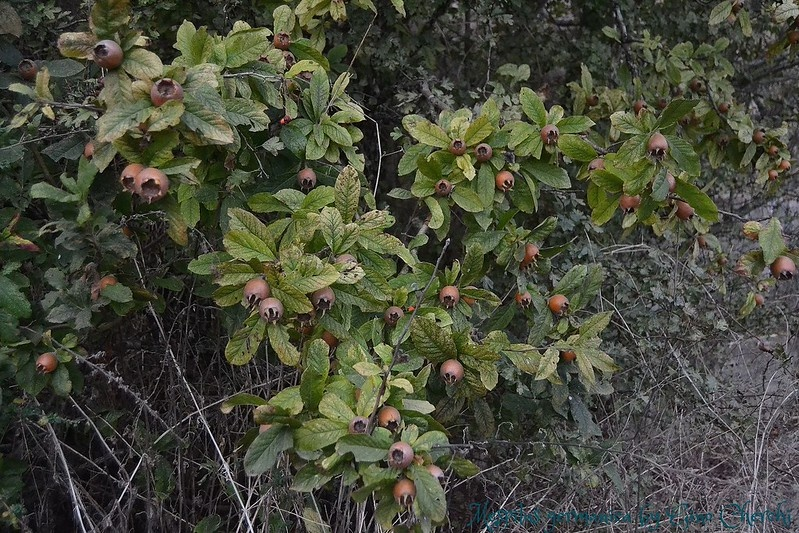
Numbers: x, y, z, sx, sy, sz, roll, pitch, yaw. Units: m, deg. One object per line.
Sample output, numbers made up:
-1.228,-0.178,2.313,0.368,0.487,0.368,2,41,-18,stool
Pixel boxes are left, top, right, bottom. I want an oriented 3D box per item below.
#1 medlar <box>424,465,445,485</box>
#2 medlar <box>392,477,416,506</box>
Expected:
0.110,0.658,2.232,0.057,0.047,0.044,26,45,21,medlar
0.019,0.703,2.196,0.061,0.061,0.079,42,8,-33,medlar
